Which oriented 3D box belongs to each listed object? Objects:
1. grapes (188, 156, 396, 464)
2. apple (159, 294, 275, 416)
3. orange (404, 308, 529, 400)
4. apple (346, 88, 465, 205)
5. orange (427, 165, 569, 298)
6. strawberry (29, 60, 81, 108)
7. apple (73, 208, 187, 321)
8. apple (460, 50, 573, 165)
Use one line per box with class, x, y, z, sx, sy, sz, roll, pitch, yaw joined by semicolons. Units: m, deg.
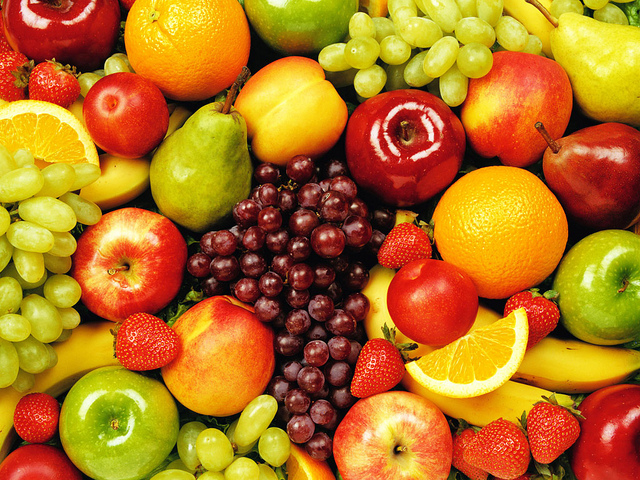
grapes;-0.081;0.140;2.196;0.558;0.994;0.390;0;9;-1
apple;-0.334;0.343;2.137;0.341;0.353;0.337;27;-10;-14
orange;0.462;0.337;2.127;0.372;0.280;0.359;-1;24;4
apple;0.254;-0.319;2.224;0.352;0.357;0.369;-29;7;4
orange;0.555;-0.038;2.153;0.338;0.419;0.419;2;25;0
strawberry;-0.861;-0.537;2.164;0.160;0.146;0.185;-9;26;-19
apple;-0.616;0.026;2.220;0.406;0.320;0.407;-12;29;-19
apple;0.604;-0.408;2.195;0.322;0.365;0.336;18;3;-10
